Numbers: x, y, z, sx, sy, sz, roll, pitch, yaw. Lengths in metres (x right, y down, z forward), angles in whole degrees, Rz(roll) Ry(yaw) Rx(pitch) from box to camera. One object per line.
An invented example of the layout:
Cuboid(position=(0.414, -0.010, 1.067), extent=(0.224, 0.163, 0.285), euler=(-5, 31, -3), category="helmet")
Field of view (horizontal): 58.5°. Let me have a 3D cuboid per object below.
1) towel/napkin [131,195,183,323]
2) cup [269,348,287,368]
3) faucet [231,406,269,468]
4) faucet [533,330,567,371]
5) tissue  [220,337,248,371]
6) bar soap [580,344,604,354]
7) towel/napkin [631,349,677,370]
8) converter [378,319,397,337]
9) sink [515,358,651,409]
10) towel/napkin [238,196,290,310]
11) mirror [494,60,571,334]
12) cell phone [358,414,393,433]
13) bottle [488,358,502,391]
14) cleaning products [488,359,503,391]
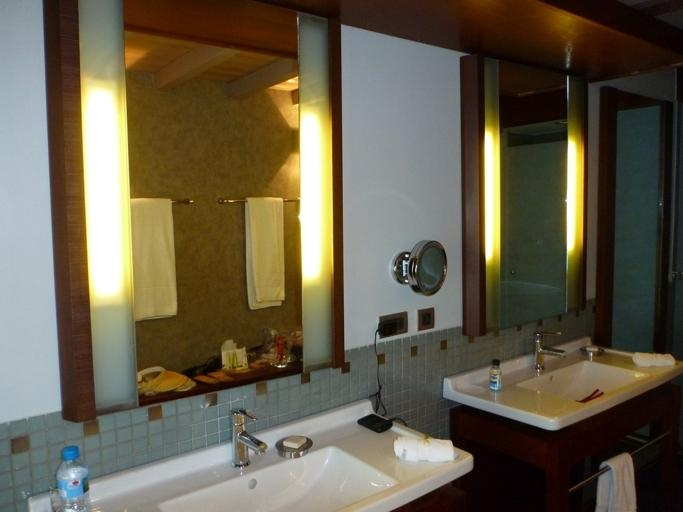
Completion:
Cuboid(position=(-0.709, 0.010, 2.304), extent=(0.228, 0.441, 0.051), euler=(-3, -1, 24), category="towel/napkin")
Cuboid(position=(-0.260, 0.428, 2.565), extent=(0.076, 0.084, 0.075), euler=(-1, 5, 0), category="cup")
Cuboid(position=(-0.358, 0.716, 2.349), extent=(0.079, 0.232, 0.224), euler=(-8, 9, -37), category="faucet")
Cuboid(position=(1.120, 0.521, 3.286), extent=(0.059, 0.223, 0.205), euler=(-11, 10, -32), category="faucet")
Cuboid(position=(-0.430, 0.386, 2.475), extent=(0.108, 0.156, 0.112), euler=(3, 4, 41), category="tissue ")
Cuboid(position=(1.452, 0.544, 3.549), extent=(0.052, 0.025, 0.070), euler=(-2, 5, -25), category="bar soap")
Cuboid(position=(1.688, 0.558, 3.302), extent=(0.214, 0.072, 0.165), euler=(-6, 3, 26), category="towel/napkin")
Cuboid(position=(0.215, 0.334, 2.826), extent=(0.081, 0.078, 0.019), euler=(-5, 13, -33), category="converter")
Cuboid(position=(1.267, 0.682, 3.293), extent=(0.639, 0.117, 0.301), euler=(-8, 3, -1), category="sink")
Cuboid(position=(-0.319, -0.019, 2.530), extent=(0.061, 0.474, 0.189), euler=(-2, 2, 43), category="towel/napkin")
Cuboid(position=(1.072, -0.338, 3.398), extent=(0.686, 1.395, 0.126), euler=(-9, 4, -38), category="mirror")
Cuboid(position=(0.146, 0.729, 2.675), extent=(0.072, 0.028, 0.086), euler=(-7, 9, -41), category="cell phone")
Cuboid(position=(0.758, 0.581, 3.016), extent=(0.052, 0.102, 0.096), euler=(-6, 3, 22), category="bottle")
Cuboid(position=(0.757, 0.581, 3.015), extent=(0.052, 0.102, 0.098), euler=(-6, 3, 23), category="cleaning products")
